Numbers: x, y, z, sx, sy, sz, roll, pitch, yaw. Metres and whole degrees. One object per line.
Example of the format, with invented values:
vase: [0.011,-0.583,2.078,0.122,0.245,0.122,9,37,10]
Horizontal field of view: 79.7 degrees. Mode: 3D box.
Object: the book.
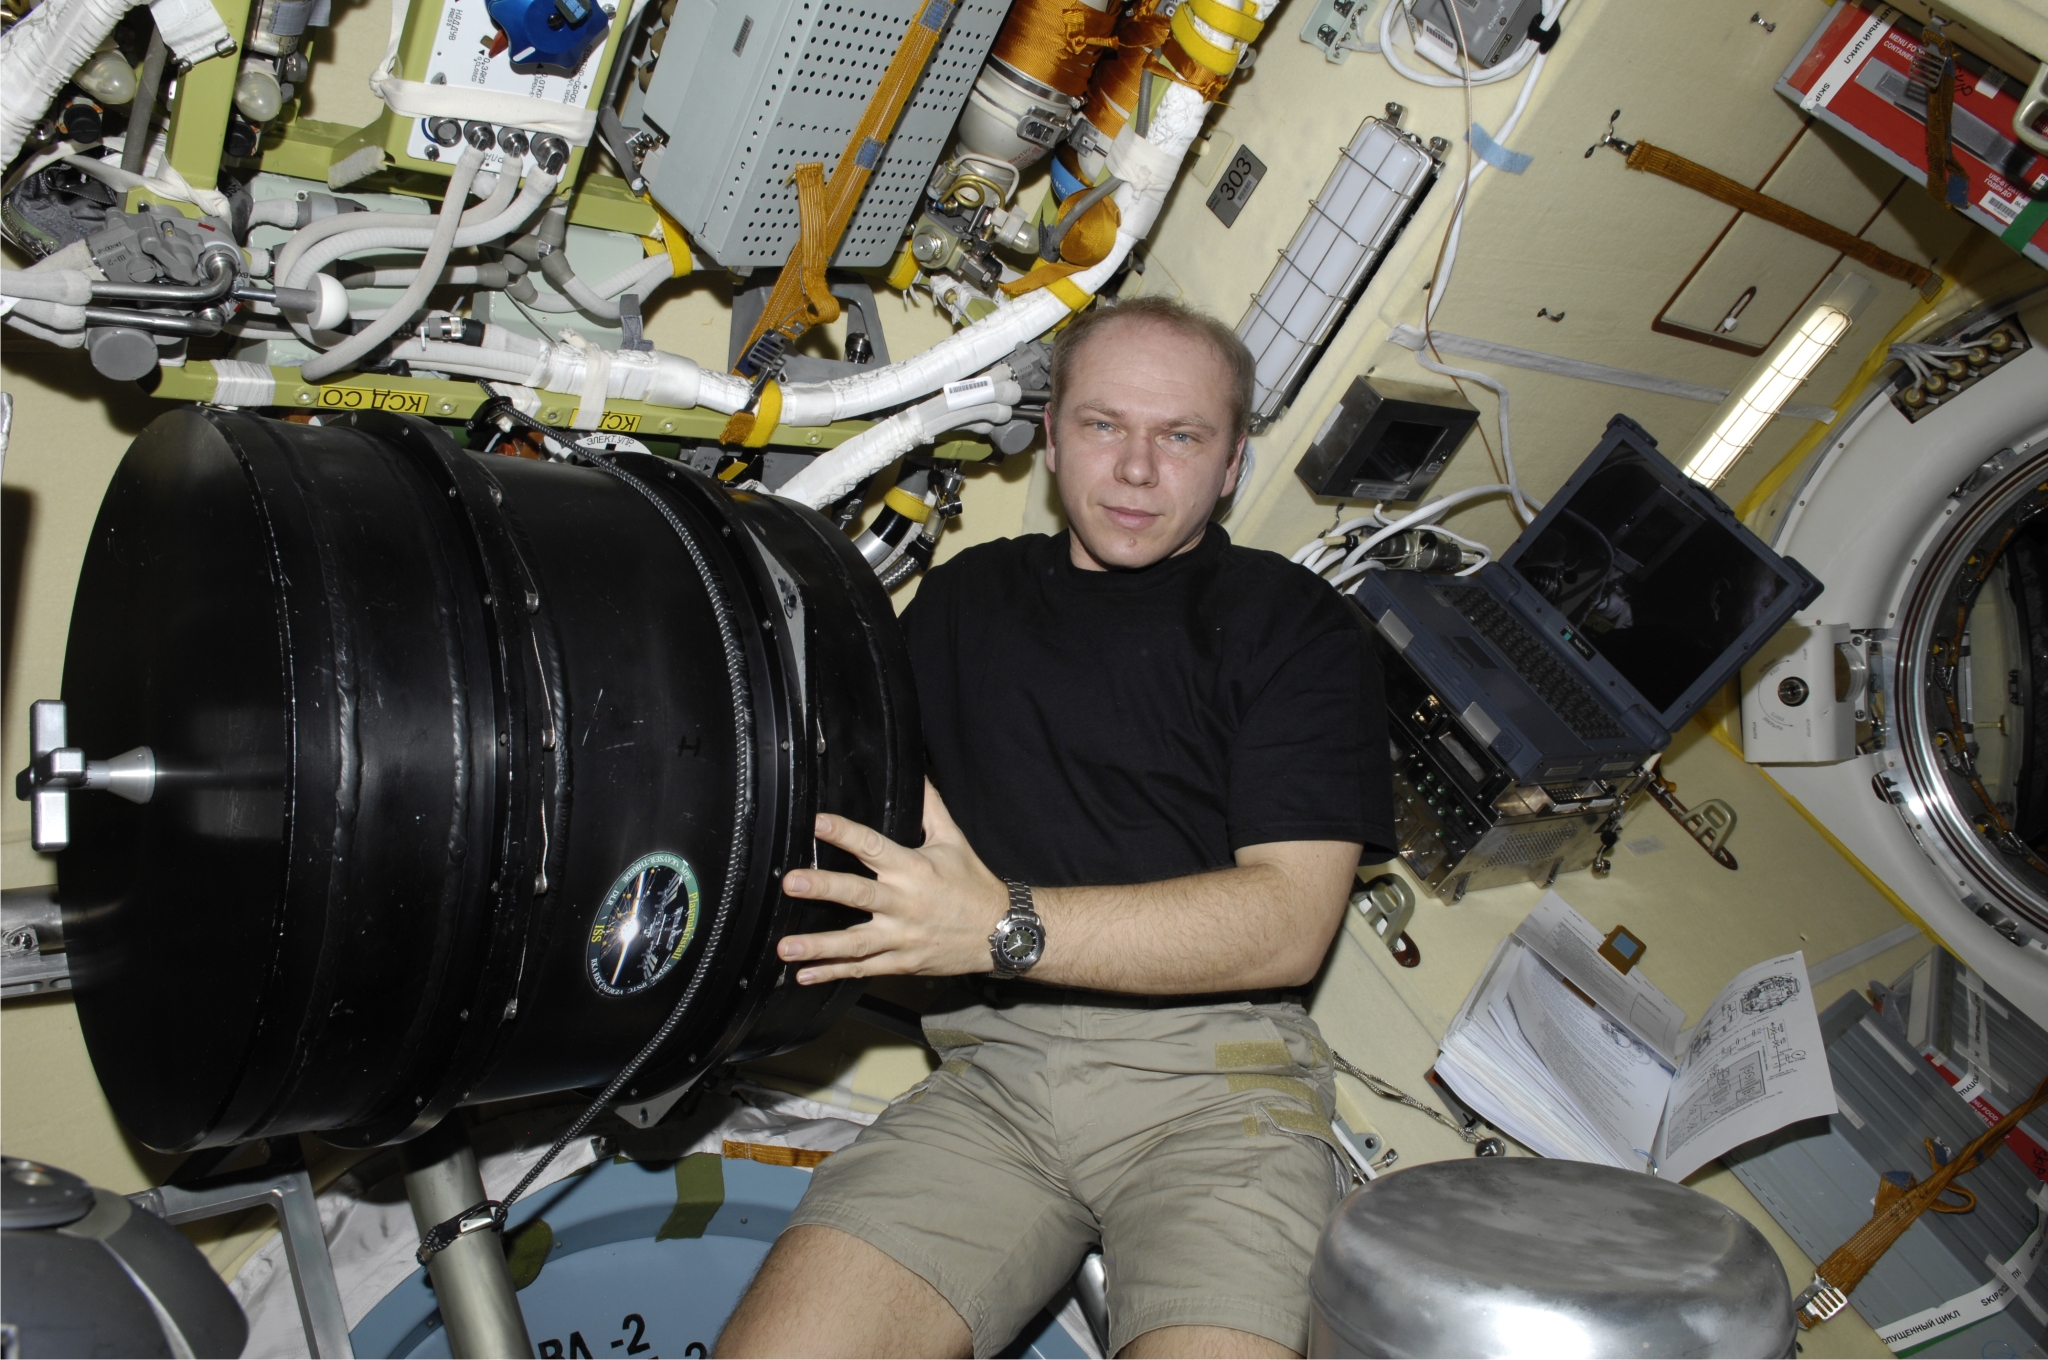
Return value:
book: [1.268,0.814,2.813,0.474,0.304,0.700,32,25,25]
